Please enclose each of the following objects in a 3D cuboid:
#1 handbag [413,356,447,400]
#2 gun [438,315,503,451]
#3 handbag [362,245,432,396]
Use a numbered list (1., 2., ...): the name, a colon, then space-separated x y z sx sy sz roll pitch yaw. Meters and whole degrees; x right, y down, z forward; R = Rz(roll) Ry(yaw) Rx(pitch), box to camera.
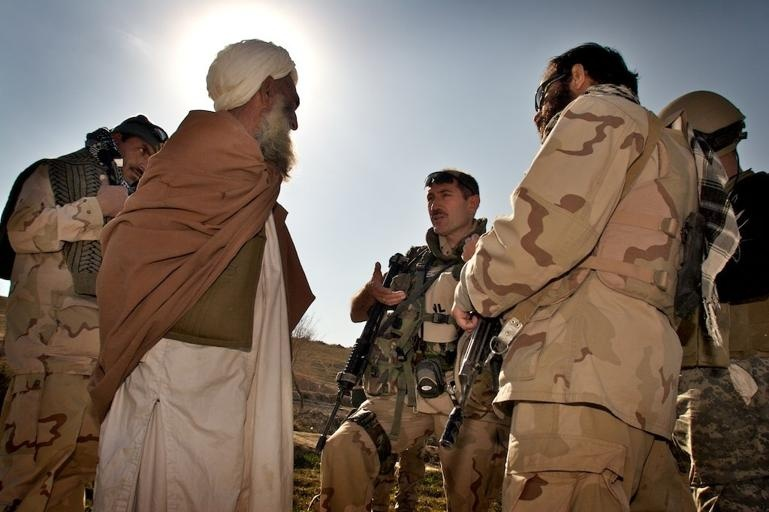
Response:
1. handbag: 0.396 1.053 4.486 0.248 0.358 0.328 -4 -24 10
2. gun: 0.691 1.060 4.079 0.192 1.283 0.449 22 3 32
3. handbag: 0.127 0.711 4.781 0.508 1.345 0.274 15 -17 36
